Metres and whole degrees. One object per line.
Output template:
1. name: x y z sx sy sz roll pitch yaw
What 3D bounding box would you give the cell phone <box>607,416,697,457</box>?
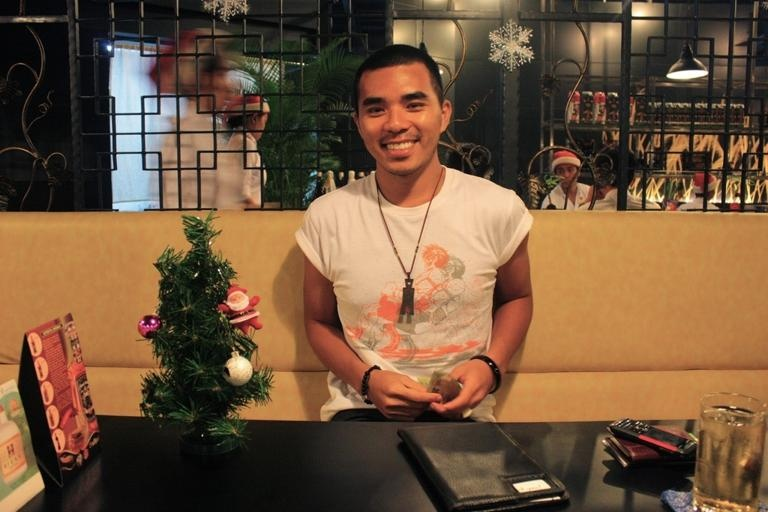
1. cell phone: 0.923 0.621 2.443 0.197 0.047 0.123 12 5 21

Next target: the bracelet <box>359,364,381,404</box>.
1. bracelet: -0.071 0.522 2.860 0.089 0.153 0.137 10 1 -1

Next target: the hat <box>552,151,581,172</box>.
1. hat: 1.515 -0.840 5.910 0.244 0.194 0.295 1 -8 15

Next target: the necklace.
1. necklace: 0.071 -0.021 3.000 0.259 0.571 0.218 2 9 9

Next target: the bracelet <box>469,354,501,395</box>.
1. bracelet: 0.442 0.469 2.885 0.037 0.146 0.137 -23 25 -32

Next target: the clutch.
1. clutch: 0.903 0.665 2.427 0.182 0.047 0.162 -3 26 -6

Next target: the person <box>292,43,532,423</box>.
1. person: 0.034 -0.002 3.002 1.001 1.768 1.024 4 12 25
